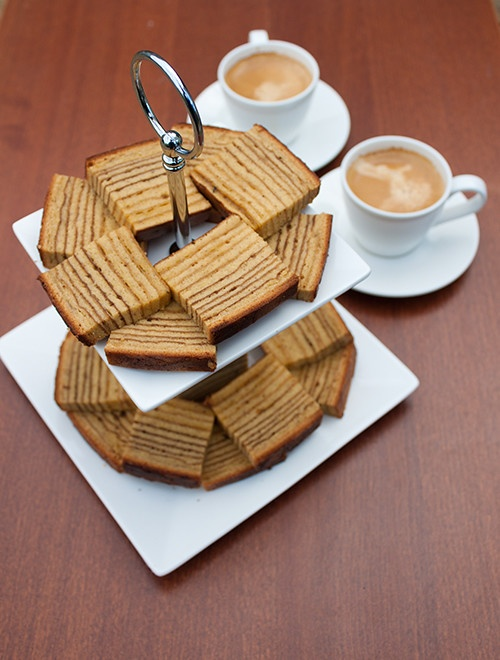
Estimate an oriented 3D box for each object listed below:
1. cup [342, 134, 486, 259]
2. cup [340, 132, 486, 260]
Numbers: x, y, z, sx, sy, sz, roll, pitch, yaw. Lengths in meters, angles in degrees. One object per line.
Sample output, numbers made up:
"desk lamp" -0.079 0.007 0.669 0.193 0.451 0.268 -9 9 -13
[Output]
"cup" 0.199 -0.162 0.760 0.189 0.116 0.150 1 56 4
"cup" 0.202 -0.164 0.816 0.183 0.116 0.134 10 64 10
